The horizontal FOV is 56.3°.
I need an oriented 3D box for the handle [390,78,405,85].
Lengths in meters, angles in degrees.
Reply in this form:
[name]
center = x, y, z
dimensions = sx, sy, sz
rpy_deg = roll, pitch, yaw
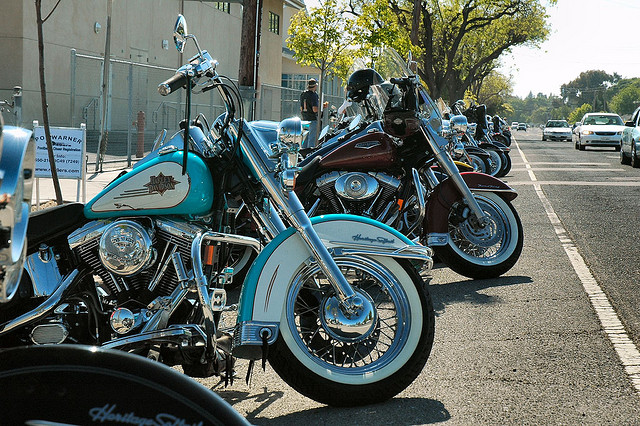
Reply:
[handle]
center = 0.822, -1.423, 6.434
dimensions = 0.056, 0.061, 0.205
rpy_deg = -6, 11, -12

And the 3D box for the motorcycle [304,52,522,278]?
[motorcycle]
center = 1.014, -0.336, 6.929
dimensions = 2.589, 2.027, 1.734
rpy_deg = 0, 1, -2
